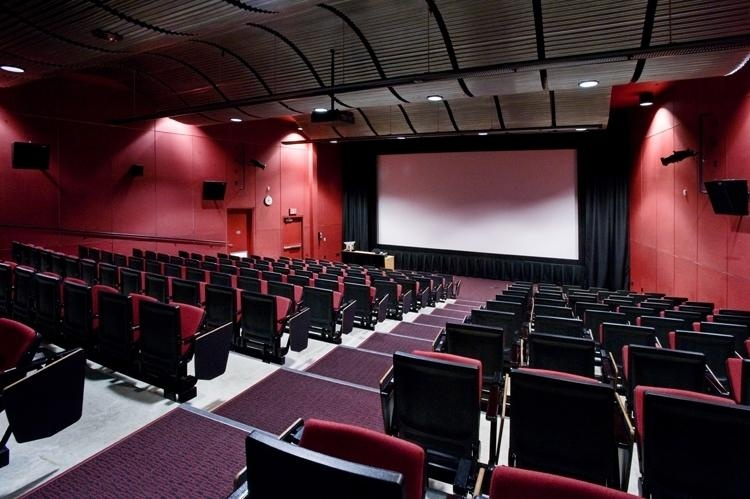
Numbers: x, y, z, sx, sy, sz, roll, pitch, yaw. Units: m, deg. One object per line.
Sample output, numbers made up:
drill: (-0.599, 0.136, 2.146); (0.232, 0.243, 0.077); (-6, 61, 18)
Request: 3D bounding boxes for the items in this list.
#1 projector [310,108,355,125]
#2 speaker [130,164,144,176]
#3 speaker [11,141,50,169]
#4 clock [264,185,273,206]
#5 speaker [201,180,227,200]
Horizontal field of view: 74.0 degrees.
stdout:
projector: (-0.927, -3.040, 11.162); (0.800, 0.458, 0.921); (2, 2, 10)
speaker: (-7.089, -2.352, 14.735); (0.380, 0.283, 0.271); (0, 6, -15)
speaker: (-8.540, -2.324, 12.257); (0.224, 0.562, 0.648); (15, 16, 39)
clock: (-3.998, -1.997, 18.562); (0.101, 0.768, 0.435); (3, 2, 28)
speaker: (-5.350, -1.906, 16.697); (0.531, 0.897, 1.041); (5, 6, 43)
